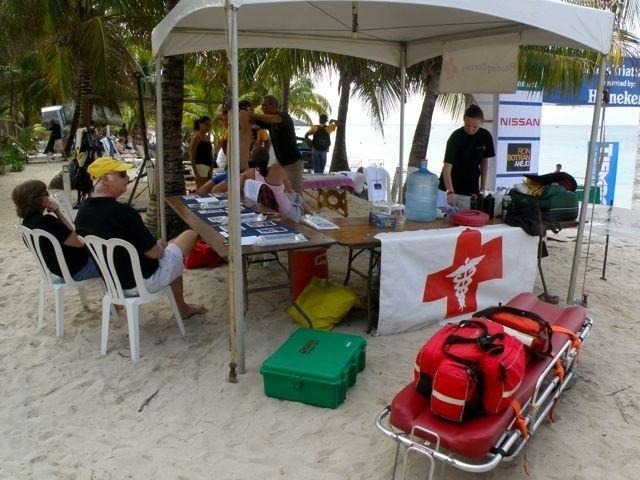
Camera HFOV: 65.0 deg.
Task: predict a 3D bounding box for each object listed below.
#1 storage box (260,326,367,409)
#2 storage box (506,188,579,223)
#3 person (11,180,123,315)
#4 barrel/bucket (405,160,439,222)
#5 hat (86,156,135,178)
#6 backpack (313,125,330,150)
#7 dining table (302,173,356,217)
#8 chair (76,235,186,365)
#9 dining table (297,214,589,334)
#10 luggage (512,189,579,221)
[{"bbox_3d":[-0.078,1.087,4.323,0.616,0.248,0.654,5,19,17],"label":"storage box"},{"bbox_3d":[2.605,-0.501,5.800,0.438,0.309,0.589,-13,21,-38],"label":"storage box"},{"bbox_3d":[-2.980,-0.132,5.464,1.129,1.651,0.925,-12,21,-36],"label":"person"},{"bbox_3d":[1.138,-0.542,5.645,0.360,0.698,0.446,0,12,10],"label":"barrel/bucket"},{"bbox_3d":[-2.076,-0.701,4.963,0.335,0.168,0.221,-14,19,-23],"label":"hat"},{"bbox_3d":[0.053,-2.764,13.565,0.559,0.842,0.420,0,10,0],"label":"backpack"},{"bbox_3d":[0.112,-0.978,10.390,0.956,0.696,1.330,-4,12,-19],"label":"dining table"},{"bbox_3d":[-1.961,0.544,4.931,0.636,1.219,0.316,0,12,8],"label":"chair"},{"bbox_3d":[1.238,0.372,5.478,2.311,1.063,0.576,-6,13,-19],"label":"dining table"},{"bbox_3d":[2.625,-0.419,5.819,0.417,0.288,0.561,-11,22,-32],"label":"luggage"}]
